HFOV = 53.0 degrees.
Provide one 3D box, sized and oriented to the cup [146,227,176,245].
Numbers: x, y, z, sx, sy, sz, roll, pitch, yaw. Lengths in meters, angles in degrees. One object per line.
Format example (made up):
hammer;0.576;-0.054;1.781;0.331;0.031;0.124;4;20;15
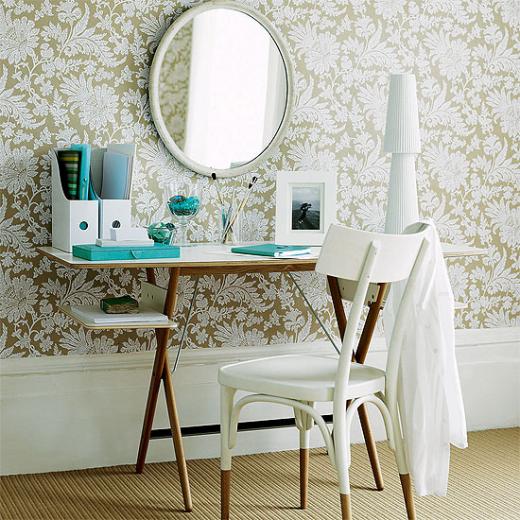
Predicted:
cup;-0.326;-0.080;1.724;0.073;0.058;0.069;-3;3;0

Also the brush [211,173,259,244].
brush;-0.106;-0.208;2.021;0.179;0.344;0.143;13;6;-5

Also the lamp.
lamp;0.521;-0.395;1.905;0.139;0.584;0.229;4;11;12

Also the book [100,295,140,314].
book;-0.419;0.137;1.556;0.103;0.043;0.113;-1;11;-19

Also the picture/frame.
picture/frame;0.154;-0.177;1.840;0.293;0.397;0.030;0;0;-15
